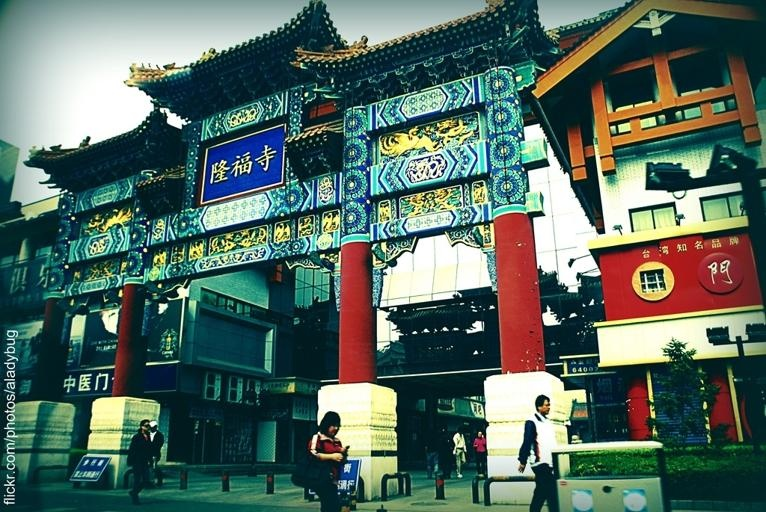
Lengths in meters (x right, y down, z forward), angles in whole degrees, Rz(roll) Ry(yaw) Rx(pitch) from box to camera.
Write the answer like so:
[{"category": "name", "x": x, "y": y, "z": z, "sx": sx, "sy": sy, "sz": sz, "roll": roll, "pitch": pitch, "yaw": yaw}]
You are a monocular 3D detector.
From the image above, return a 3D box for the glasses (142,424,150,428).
[{"category": "glasses", "x": -7.968, "y": 5.687, "z": 22.345, "sx": 0.196, "sy": 0.113, "sz": 0.254, "roll": 2, "pitch": 1, "yaw": -13}]
